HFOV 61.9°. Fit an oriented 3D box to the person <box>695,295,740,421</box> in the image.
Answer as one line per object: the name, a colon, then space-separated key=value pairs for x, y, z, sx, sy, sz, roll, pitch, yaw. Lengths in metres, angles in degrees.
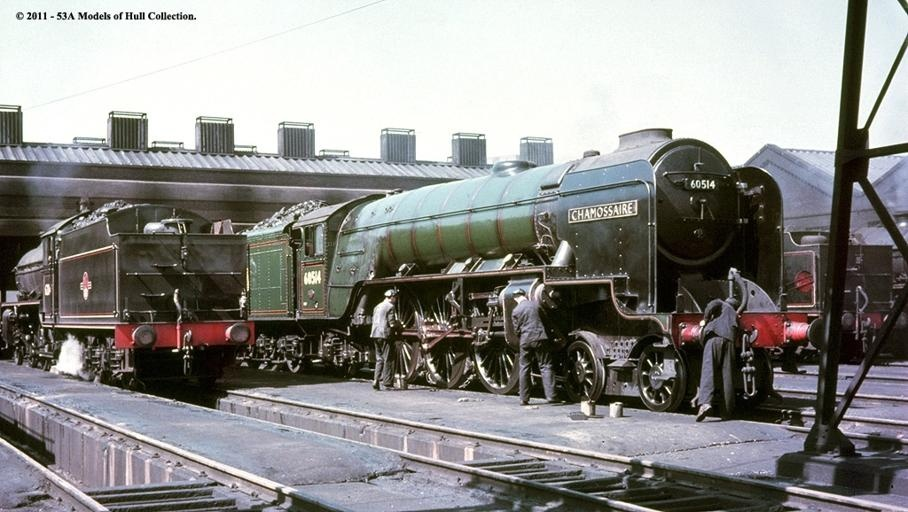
person: x=5.206 y=2.006 z=14.885 sx=0.970 sy=2.343 sz=0.569 roll=-1 pitch=-2 yaw=-3

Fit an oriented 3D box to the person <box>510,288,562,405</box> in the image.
person: x=1.822 y=2.002 z=16.996 sx=0.927 sy=2.531 sz=0.735 roll=-2 pitch=-2 yaw=6

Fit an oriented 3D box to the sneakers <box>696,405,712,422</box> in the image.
sneakers: x=4.919 y=3.061 z=14.829 sx=0.137 sy=0.378 sz=0.171 roll=13 pitch=29 yaw=-19

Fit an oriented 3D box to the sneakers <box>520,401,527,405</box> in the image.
sneakers: x=1.572 y=3.204 z=16.689 sx=0.178 sy=0.105 sz=0.162 roll=-2 pitch=-3 yaw=9
